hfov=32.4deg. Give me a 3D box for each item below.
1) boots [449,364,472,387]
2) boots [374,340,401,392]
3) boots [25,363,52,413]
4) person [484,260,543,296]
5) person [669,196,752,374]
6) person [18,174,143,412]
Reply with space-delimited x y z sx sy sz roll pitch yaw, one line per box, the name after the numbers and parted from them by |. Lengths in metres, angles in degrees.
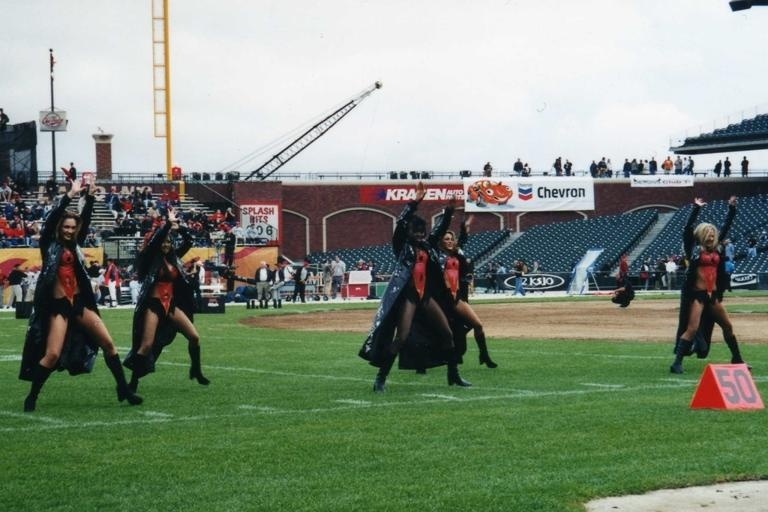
1.201 2.019 22.448 0.521 0.421 0.239 -2 4 -5 | boots
0.032 1.787 22.056 0.424 0.854 0.672 -1 10 -1 | boots
-5.461 2.015 20.697 0.423 0.764 0.603 -6 11 -23 | boots
5.288 0.866 55.196 1.666 0.909 1.572 -1 -2 -9 | person
5.556 0.688 23.012 1.169 2.582 0.846 -1 11 -1 | person
-4.941 0.620 20.818 1.681 3.520 1.109 -3 11 -9 | person
